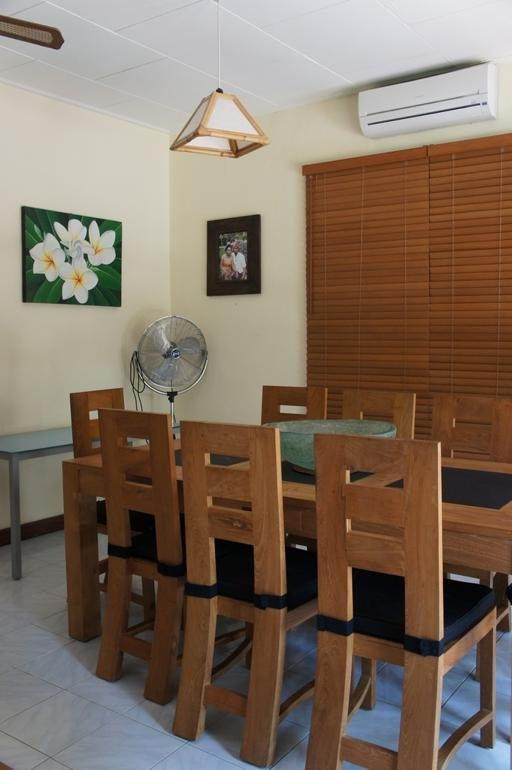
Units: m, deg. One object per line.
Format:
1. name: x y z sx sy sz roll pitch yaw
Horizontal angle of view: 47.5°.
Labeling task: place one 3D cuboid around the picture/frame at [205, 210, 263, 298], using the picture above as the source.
1. picture/frame: -0.134 -0.934 4.123 0.599 0.782 0.058 2 2 36

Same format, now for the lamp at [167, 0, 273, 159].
1. lamp: -0.128 -0.933 2.033 0.306 0.324 0.375 0 -1 -29
